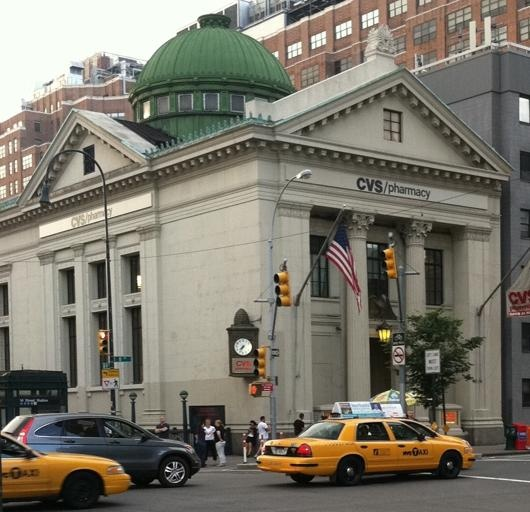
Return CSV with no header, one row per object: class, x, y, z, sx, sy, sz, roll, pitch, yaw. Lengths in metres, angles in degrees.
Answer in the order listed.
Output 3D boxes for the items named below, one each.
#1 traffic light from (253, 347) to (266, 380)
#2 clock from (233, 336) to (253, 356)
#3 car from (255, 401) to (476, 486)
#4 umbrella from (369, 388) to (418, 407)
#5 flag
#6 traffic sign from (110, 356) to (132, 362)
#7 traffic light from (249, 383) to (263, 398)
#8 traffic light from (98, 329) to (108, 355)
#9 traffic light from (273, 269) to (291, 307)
traffic light,-0.196,4.070,59.191,0.434,1.218,1.189,-2,-11,-3
clock,-0.885,3.789,65.385,0.729,0.697,0.096,-15,5,-1
car,3.350,6.402,50.610,6.385,2.233,1.274,2,-12,-21
umbrella,5.596,5.957,64.990,1.382,0.569,1.384,6,-15,-17
flag,3.179,0.152,63.232,0.943,4.235,1.177,9,-12,-43
traffic sign,-6.057,4.345,65.138,0.692,0.166,0.737,2,-4,-23
traffic light,-0.325,5.121,59.522,0.489,0.477,0.340,1,-12,-15
traffic light,-6.591,3.531,63.598,0.415,1.024,0.771,-2,-11,-3
traffic light,0.628,1.179,57.555,0.545,1.414,1.057,-2,-11,0
